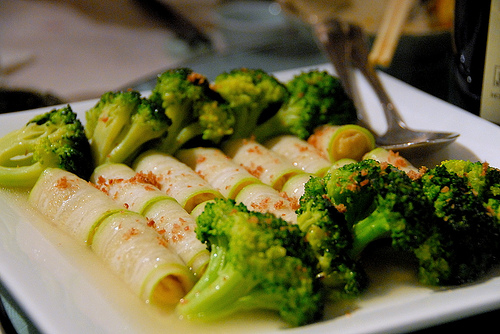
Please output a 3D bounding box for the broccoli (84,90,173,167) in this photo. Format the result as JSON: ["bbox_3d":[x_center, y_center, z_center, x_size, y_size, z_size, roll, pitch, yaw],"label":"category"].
[{"bbox_3d":[-0.861,-0.263,2.830,0.357,0.334,0.367,30,77,27],"label":"broccoli"}]

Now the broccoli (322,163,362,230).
[{"bbox_3d":[0.521,0.149,2.177,0.123,0.331,0.272,-11,2,-16],"label":"broccoli"}]
